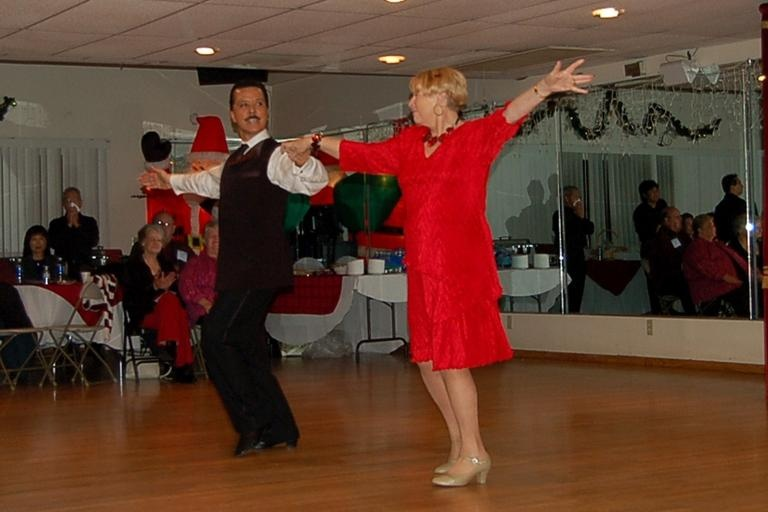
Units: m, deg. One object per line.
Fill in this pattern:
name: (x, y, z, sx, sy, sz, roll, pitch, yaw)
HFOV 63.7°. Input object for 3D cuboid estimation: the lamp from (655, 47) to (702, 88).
lamp: (3.086, -1.955, 6.421, 0.364, 0.369, 0.275, -2, 1, -30)

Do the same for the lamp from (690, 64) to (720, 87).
lamp: (3.237, -1.826, 6.277, 0.315, 0.226, 0.112, -2, 5, 19)

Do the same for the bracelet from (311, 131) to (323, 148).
bracelet: (-0.345, -0.600, 3.231, 0.073, 0.079, 0.057, -1, 4, -25)

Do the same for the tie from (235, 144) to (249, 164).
tie: (-0.797, -0.578, 3.499, 0.036, 0.106, 0.076, 23, -9, -23)

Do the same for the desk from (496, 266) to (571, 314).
desk: (1.714, 0.438, 7.494, 0.780, 0.517, 0.442, -1, -7, 15)

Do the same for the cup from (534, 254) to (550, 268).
cup: (1.857, 0.065, 7.286, 0.174, 0.175, 0.166, 1, 3, 0)

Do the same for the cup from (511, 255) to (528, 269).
cup: (1.602, 0.077, 7.264, 0.162, 0.162, 0.164, -1, -2, 0)

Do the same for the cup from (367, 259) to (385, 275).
cup: (-0.070, 0.120, 6.785, 0.165, 0.160, 0.172, 0, -2, 0)

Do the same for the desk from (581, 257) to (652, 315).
desk: (2.576, 0.329, 6.902, 0.606, 0.490, 0.612, -1, 0, 12)

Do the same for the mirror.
mirror: (2.466, -0.609, 6.160, 2.972, 2.152, 0.140, 1, 1, 37)

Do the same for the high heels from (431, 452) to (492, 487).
high heels: (0.393, 1.062, 3.091, 0.271, 0.133, 0.136, 1, -3, -2)

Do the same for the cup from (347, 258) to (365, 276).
cup: (-0.294, 0.128, 6.768, 0.183, 0.144, 0.141, -8, -10, 20)

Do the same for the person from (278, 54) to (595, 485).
person: (0.330, 0.107, 3.053, 1.162, 2.065, 0.344, -2, 5, 13)
